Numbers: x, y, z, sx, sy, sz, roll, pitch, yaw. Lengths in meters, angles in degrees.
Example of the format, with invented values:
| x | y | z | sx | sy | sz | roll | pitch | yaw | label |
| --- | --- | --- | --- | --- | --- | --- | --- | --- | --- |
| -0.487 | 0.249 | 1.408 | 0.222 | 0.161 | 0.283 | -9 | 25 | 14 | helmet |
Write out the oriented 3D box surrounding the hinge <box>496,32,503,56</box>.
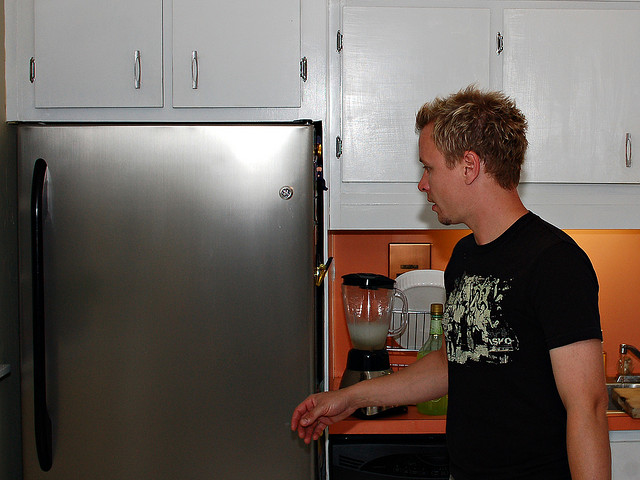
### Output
| x | y | z | sx | sy | sz | roll | pitch | yaw | label |
| --- | --- | --- | --- | --- | --- | --- | --- | --- | --- |
| 0.621 | -0.679 | 2.085 | 0.022 | 0.072 | 0.006 | -1 | 2 | -4 | hinge |

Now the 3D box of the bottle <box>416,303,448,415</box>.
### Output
| x | y | z | sx | sy | sz | roll | pitch | yaw | label |
| --- | --- | --- | --- | --- | --- | --- | --- | --- | --- |
| 0.380 | 0.409 | 2.071 | 0.095 | 0.371 | 0.252 | -1 | 3 | 9 | bottle |

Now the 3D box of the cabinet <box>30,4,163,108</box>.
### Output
| x | y | z | sx | sy | sz | roll | pitch | yaw | label |
| --- | --- | --- | --- | --- | --- | --- | --- | --- | --- |
| -0.728 | -0.596 | 2.148 | 0.452 | 0.487 | 0.323 | 0 | -1 | 0 | cabinet |

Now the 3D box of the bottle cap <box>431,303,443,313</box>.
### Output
| x | y | z | sx | sy | sz | roll | pitch | yaw | label |
| --- | --- | --- | --- | --- | --- | --- | --- | --- | --- |
| 0.410 | 0.232 | 2.102 | 0.031 | 0.030 | 0.033 | 2 | 5 | 17 | bottle cap |

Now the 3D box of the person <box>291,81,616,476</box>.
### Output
| x | y | z | sx | sy | sz | roll | pitch | yaw | label |
| --- | --- | --- | --- | --- | --- | --- | --- | --- | --- |
| 0.538 | 0.127 | 2.568 | 1.021 | 2.560 | 0.889 | 0 | -2 | 5 | person |

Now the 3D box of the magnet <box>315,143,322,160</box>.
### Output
| x | y | z | sx | sy | sz | roll | pitch | yaw | label |
| --- | --- | --- | --- | --- | --- | --- | --- | --- | --- |
| -0.004 | -0.277 | 1.873 | 0.008 | 0.037 | 0.035 | 4 | 10 | 9 | magnet |

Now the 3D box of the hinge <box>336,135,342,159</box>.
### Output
| x | y | z | sx | sy | sz | roll | pitch | yaw | label |
| --- | --- | --- | --- | --- | --- | --- | --- | --- | --- |
| 0.067 | -0.322 | 2.100 | 0.021 | 0.075 | 0.009 | -1 | 2 | -3 | hinge |

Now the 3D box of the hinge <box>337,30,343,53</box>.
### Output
| x | y | z | sx | sy | sz | roll | pitch | yaw | label |
| --- | --- | --- | --- | --- | --- | --- | --- | --- | --- |
| 0.069 | -0.683 | 2.075 | 0.018 | 0.069 | 0.007 | -1 | 2 | 1 | hinge |
